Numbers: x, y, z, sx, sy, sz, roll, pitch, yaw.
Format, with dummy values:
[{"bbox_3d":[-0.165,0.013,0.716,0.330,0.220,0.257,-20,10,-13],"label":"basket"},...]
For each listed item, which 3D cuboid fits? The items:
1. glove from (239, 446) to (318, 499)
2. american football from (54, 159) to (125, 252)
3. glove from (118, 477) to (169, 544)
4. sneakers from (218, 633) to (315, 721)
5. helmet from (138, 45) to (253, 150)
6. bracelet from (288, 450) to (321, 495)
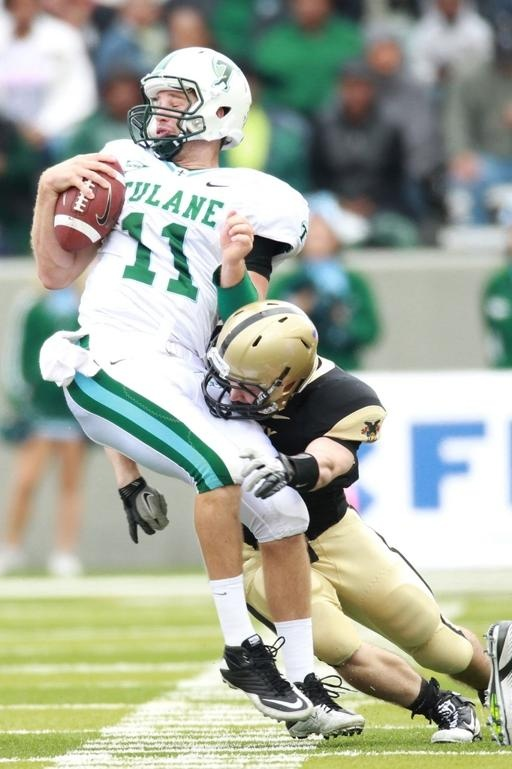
[{"bbox_3d":[0.040,0.167,1.619,0.051,0.119,0.068,-22,79,25],"label":"glove"},{"bbox_3d":[-0.339,-0.374,1.926,0.118,0.107,0.168,22,63,22],"label":"american football"},{"bbox_3d":[-0.234,0.254,1.910,0.068,0.116,0.126,-16,76,-37],"label":"glove"},{"bbox_3d":[0.011,0.537,1.656,0.113,0.092,0.161,-23,49,-14],"label":"sneakers"},{"bbox_3d":[-0.140,-0.657,2.198,0.319,0.248,0.225,0,91,-33],"label":"helmet"},{"bbox_3d":[0.087,0.157,1.679,0.059,0.059,0.064,5,76,-16],"label":"bracelet"}]
